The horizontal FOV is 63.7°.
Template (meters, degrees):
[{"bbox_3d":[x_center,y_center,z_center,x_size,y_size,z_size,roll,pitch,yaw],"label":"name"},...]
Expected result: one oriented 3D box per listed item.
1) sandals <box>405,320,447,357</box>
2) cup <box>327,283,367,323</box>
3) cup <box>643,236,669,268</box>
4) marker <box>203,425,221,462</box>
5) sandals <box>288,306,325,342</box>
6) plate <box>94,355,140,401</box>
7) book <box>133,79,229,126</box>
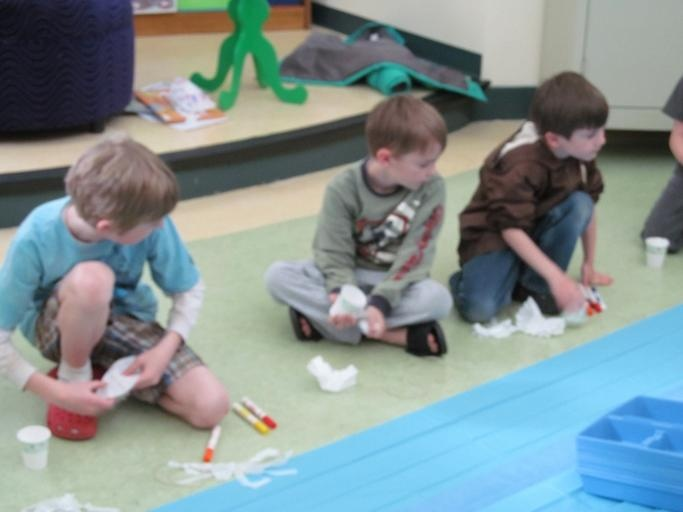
[{"bbox_3d":[0.238,0.256,1.612,0.129,0.077,0.048,-4,16,38],"label":"sandals"},{"bbox_3d":[0.023,0.133,1.577,0.095,0.089,0.095,25,29,-15],"label":"cup"},{"bbox_3d":[1.182,-0.017,2.128,0.101,0.108,0.106,-1,14,0],"label":"cup"},{"bbox_3d":[-0.305,0.446,1.294,0.017,0.015,0.073,-17,31,19],"label":"marker"},{"bbox_3d":[-0.115,0.219,1.703,0.041,0.114,0.083,-38,10,-2],"label":"sandals"},{"bbox_3d":[-0.509,0.288,1.275,0.074,0.026,0.106,25,59,26],"label":"plate"},{"bbox_3d":[-0.869,-0.828,2.906,0.340,0.164,0.524,-24,38,-35],"label":"book"}]
